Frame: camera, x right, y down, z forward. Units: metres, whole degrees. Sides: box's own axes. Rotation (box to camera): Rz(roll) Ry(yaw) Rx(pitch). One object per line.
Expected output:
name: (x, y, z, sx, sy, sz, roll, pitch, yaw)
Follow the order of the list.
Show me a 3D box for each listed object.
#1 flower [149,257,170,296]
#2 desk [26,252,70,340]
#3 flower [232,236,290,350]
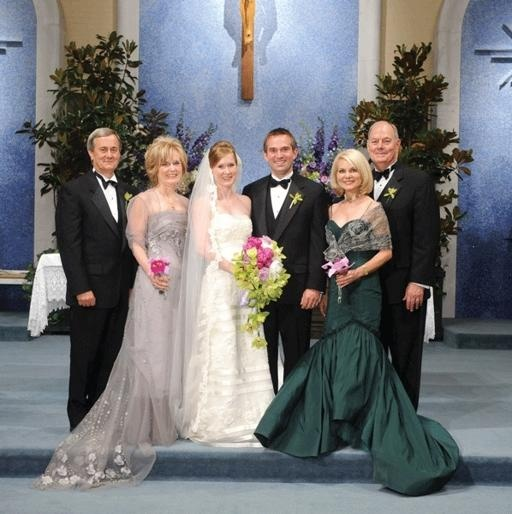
flower: (-0.515, 0.109, 3.328, 0.095, 0.208, 0.149, 0, 7, -9)
desk: (-1.926, 0.265, 5.982, 0.431, 0.491, 0.418, -15, 5, 5)
flower: (0.026, 0.202, 3.358, 0.298, 0.627, 0.275, 1, 7, 1)
